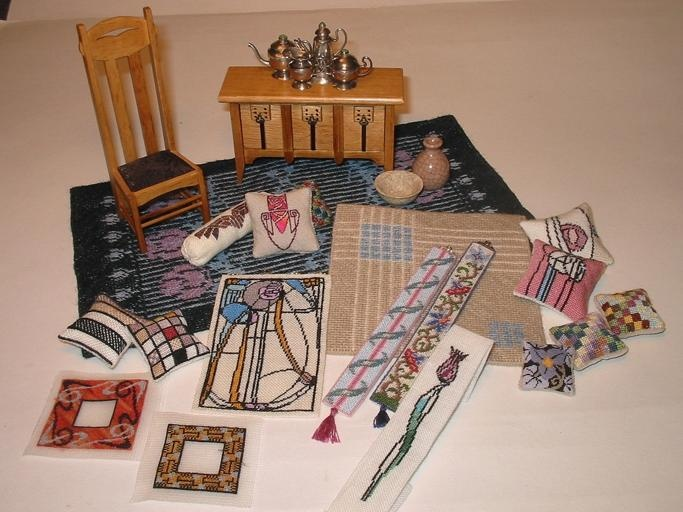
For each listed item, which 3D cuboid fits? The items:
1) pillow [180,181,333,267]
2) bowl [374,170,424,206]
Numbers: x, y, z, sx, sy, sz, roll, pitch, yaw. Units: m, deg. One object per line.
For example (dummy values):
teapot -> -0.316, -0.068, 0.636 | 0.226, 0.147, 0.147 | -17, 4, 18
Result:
pillow -> -0.619, -0.192, 4.033 | 0.856, 0.543, 0.289 | -15, -31, -12
bowl -> 0.443, -0.530, 4.443 | 0.358, 0.291, 0.117 | -10, -41, -8
